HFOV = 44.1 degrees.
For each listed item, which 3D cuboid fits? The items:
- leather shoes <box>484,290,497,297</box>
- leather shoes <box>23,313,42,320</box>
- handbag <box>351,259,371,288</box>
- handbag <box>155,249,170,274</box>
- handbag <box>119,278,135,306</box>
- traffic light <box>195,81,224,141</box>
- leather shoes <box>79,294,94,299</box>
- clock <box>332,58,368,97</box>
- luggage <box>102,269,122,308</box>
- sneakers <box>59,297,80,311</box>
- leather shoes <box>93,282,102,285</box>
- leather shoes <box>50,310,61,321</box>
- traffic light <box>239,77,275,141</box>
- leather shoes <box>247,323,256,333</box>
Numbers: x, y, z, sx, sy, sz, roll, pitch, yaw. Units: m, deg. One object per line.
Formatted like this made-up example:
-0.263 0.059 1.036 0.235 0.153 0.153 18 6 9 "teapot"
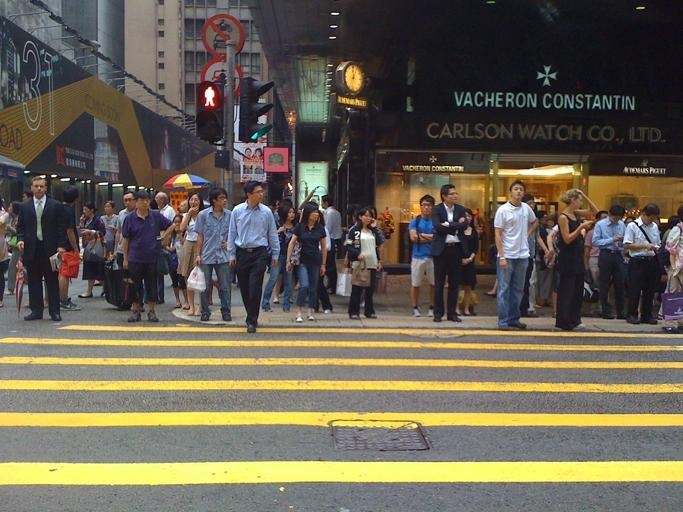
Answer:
3.139 0.798 18.034 0.285 0.125 0.087 6 5 16 "leather shoes"
-5.151 1.002 14.090 0.312 0.133 0.108 2 3 -7 "leather shoes"
0.321 0.284 14.461 0.447 0.647 0.273 2 6 3 "handbag"
-3.284 0.100 15.317 0.206 0.494 0.423 2 -3 -4 "handbag"
-3.757 0.608 14.693 0.172 0.136 0.538 8 30 -16 "handbag"
-2.452 -2.646 15.552 0.520 1.148 1.018 -1 14 -8 "traffic light"
-5.297 0.829 17.415 0.311 0.118 0.108 6 -3 -11 "leather shoes"
0.198 -4.337 20.554 0.399 0.803 0.923 11 17 36 "clock"
-4.162 0.568 15.525 0.348 0.631 0.505 0 3 -29 "luggage"
-5.022 0.875 15.562 0.407 0.275 0.142 0 6 -17 "sneakers"
-5.673 0.630 19.507 0.233 0.056 0.165 3 1 -3 "leather shoes"
-4.747 0.993 13.956 0.088 0.120 0.264 -1 -6 -28 "leather shoes"
-1.642 -2.746 15.898 0.621 1.248 1.320 -1 14 -7 "traffic light"
-1.422 1.113 13.127 0.118 0.067 0.181 3 -9 -10 "leather shoes"
